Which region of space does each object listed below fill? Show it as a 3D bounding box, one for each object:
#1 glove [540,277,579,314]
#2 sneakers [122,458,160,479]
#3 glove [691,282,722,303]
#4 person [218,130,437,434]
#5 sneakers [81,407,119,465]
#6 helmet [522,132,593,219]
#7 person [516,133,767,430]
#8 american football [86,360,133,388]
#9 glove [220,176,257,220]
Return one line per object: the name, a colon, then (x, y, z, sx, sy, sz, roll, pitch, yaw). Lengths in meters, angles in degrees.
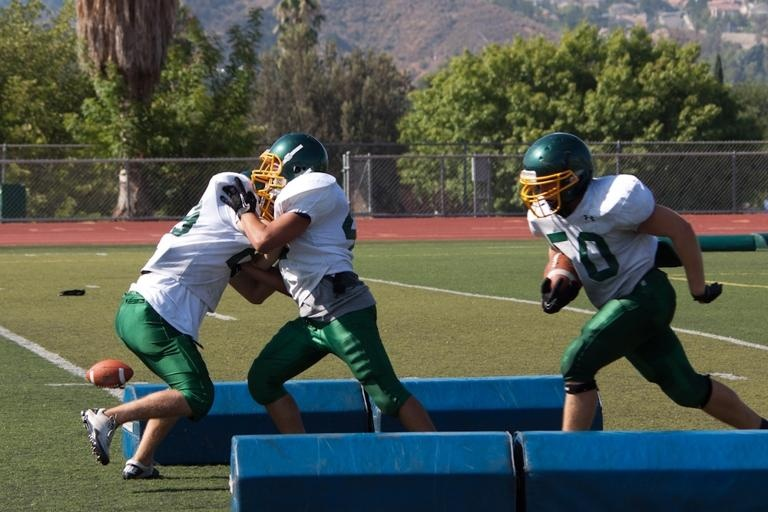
glove: (1.152, 0.259, 6.620, 0.222, 0.144, 0.257, -22, 17, 6)
sneakers: (-1.663, 1.469, 6.804, 0.285, 0.110, 0.106, 2, 9, -28)
glove: (2.253, 0.277, 6.835, 0.230, 0.108, 0.128, -23, 10, -14)
person: (-0.451, 0.195, 6.791, 1.332, 2.087, 0.486, -1, 4, 9)
sneakers: (-1.912, 1.228, 6.645, 0.189, 0.390, 0.171, -4, 4, -33)
helmet: (1.194, -0.580, 6.836, 0.584, 0.489, 0.443, -16, 17, -5)
person: (1.647, 0.162, 6.755, 1.374, 2.001, 0.507, -2, 4, -10)
american football: (-2.017, 0.865, 7.254, 0.308, 0.168, 0.195, 1, -8, 5)
glove: (-1.008, -0.399, 6.799, 0.217, 0.284, 0.148, -15, 37, 36)
